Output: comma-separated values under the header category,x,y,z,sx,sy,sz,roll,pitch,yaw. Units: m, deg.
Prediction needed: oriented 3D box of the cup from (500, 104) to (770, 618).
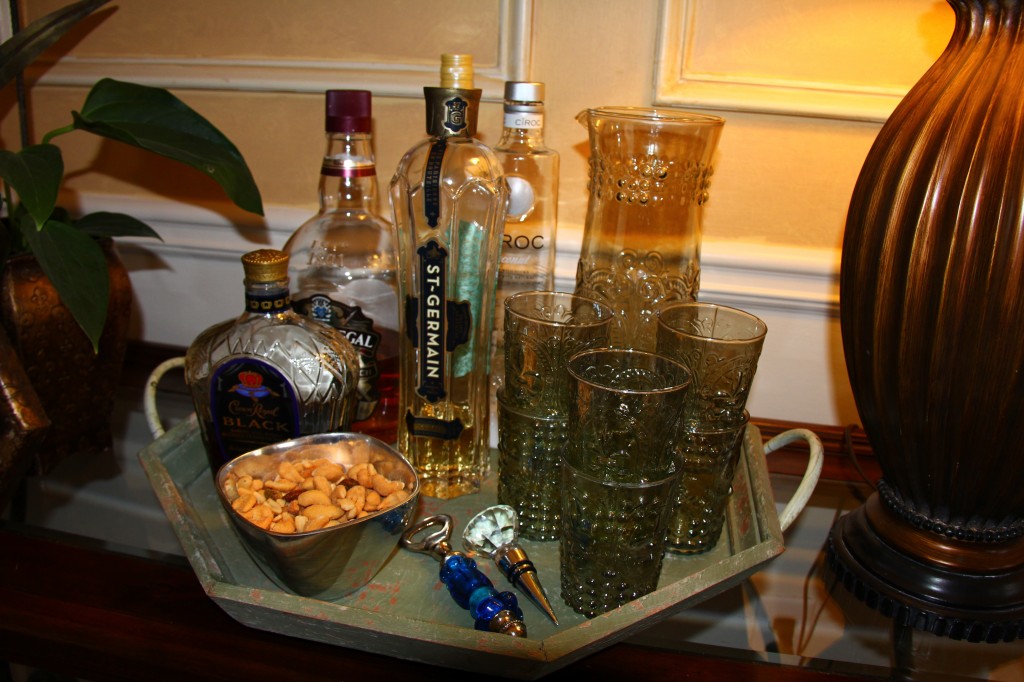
category,x,y,z,sx,sy,sz,roll,pitch,yaw
cup,0.113,0.021,0.920,0.218,0.557,0.222,0,9,0

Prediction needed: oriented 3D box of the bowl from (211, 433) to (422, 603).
category,x,y,z,sx,sy,sz,roll,pitch,yaw
bowl,-0.213,0.204,0.843,0.207,0.114,0.179,-10,23,-37

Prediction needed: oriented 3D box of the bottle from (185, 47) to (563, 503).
category,x,y,z,sx,sy,sz,roll,pitch,yaw
bottle,-0.135,-0.070,0.924,0.232,0.508,0.230,3,11,-1

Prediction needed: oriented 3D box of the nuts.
category,x,y,z,sx,sy,sz,roll,pitch,yaw
nuts,-0.211,0.158,0.827,0.120,0.040,0.114,-12,20,-30
